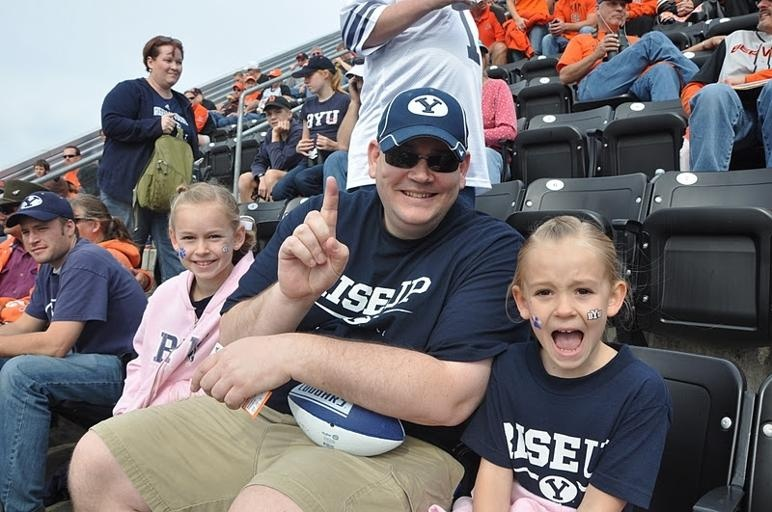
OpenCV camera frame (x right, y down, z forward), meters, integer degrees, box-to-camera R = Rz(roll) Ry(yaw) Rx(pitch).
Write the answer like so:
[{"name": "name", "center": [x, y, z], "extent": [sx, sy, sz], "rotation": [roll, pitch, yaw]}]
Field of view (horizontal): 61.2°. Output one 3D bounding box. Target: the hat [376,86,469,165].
[{"name": "hat", "center": [0.181, -0.647, 3.158], "extent": [0.460, 0.320, 0.597], "rotation": [3, 8, -14]}]

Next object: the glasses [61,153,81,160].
[{"name": "glasses", "center": [-3.809, -1.173, 7.800], "extent": [0.133, 0.042, 0.142], "rotation": [-2, -6, 27]}]
